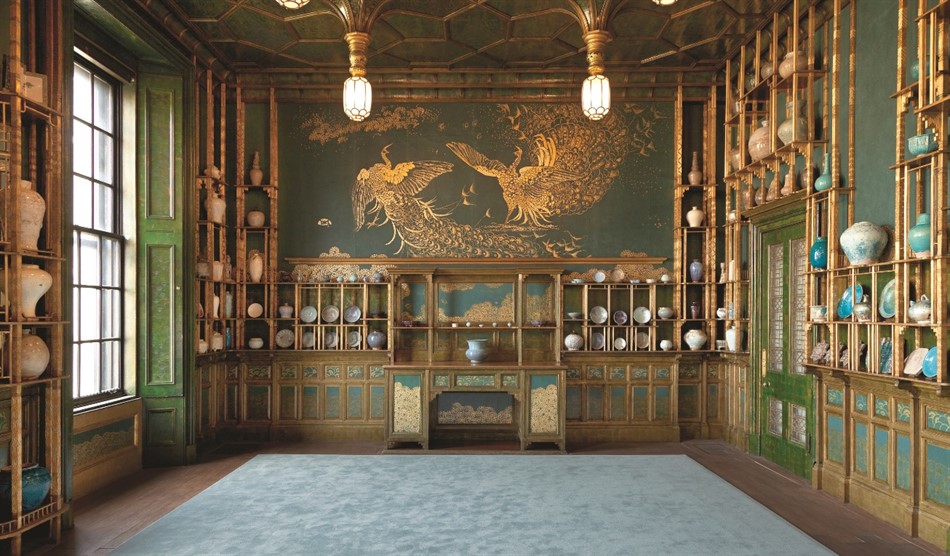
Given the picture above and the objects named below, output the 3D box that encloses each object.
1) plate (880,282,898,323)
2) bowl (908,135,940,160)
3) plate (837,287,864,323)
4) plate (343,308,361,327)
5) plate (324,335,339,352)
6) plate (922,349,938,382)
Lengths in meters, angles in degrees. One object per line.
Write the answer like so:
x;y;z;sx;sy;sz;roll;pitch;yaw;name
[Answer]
4.934;0.294;8.518;0.151;0.488;0.283;3;10;25;plate
5.104;-1.498;8.112;0.313;0.213;0.323;0;-7;0;bowl
4.719;0.338;8.918;0.274;0.450;0.436;-1;8;1;plate
-1.999;0.647;11.512;0.282;0.239;0.069;7;-7;8;plate
-2.324;1.058;11.421;0.247;0.223;0.063;-1;-9;4;plate
5.102;0.995;8.002;0.090;0.337;0.296;2;8;15;plate
